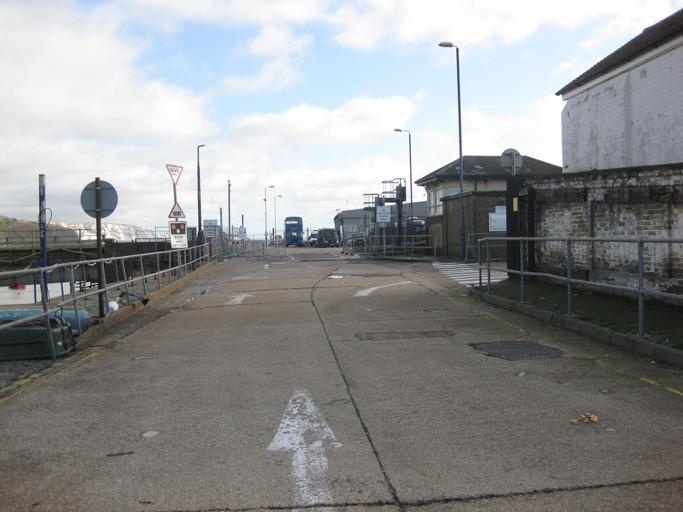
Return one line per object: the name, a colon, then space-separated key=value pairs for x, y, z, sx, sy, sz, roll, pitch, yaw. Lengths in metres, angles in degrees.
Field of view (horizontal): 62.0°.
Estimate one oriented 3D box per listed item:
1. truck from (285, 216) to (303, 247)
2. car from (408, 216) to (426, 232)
truck: x=-7.860 y=-3.905 z=93.708 sx=2.657 sy=5.084 sz=3.361 roll=-1 pitch=7 yaw=4
car: x=6.921 y=-2.802 z=52.196 sx=1.855 sy=1.069 sz=2.550 roll=2 pitch=7 yaw=16
